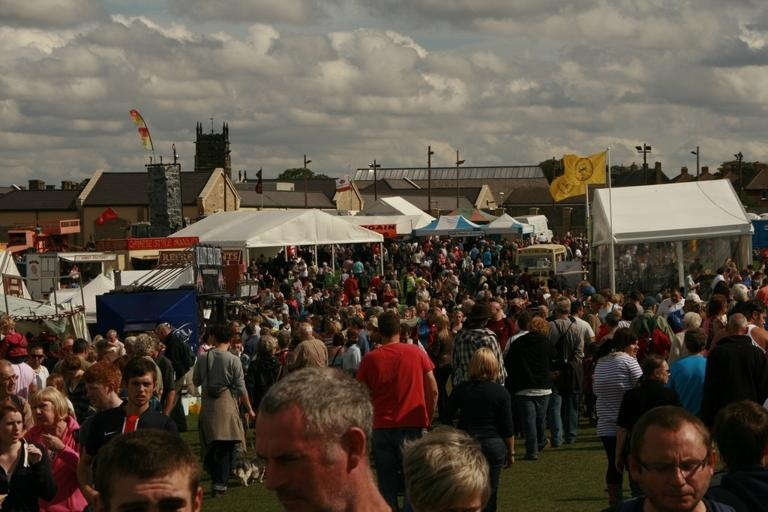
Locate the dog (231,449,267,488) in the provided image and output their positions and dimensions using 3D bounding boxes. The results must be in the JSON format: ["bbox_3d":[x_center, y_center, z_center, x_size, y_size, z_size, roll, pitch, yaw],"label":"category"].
[{"bbox_3d":[-2.353,3.582,23.610,0.505,0.601,1.030,-2,-5,-10],"label":"dog"}]

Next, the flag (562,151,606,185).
[{"bbox_3d":[5.291,-2.298,36.352,1.062,0.832,1.129,-3,-5,7],"label":"flag"}]

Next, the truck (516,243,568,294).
[{"bbox_3d":[4.883,0.273,43.049,1.007,0.968,1.698,2,7,27],"label":"truck"}]
